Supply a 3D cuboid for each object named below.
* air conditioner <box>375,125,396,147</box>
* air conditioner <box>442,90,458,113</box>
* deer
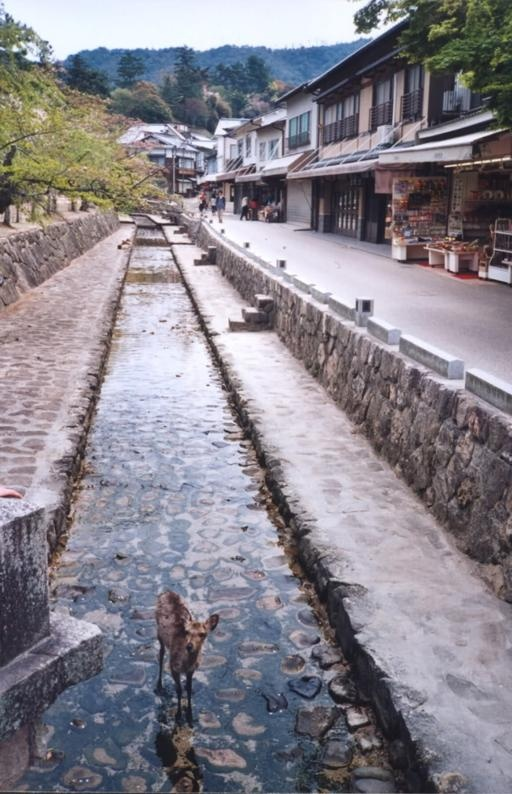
[{"bbox_3d":[4.497,-9.196,23.002,0.507,0.743,0.969,-2,16,-12],"label":"air conditioner"},{"bbox_3d":[5.949,-9.035,19.895,0.251,0.663,0.678,-2,16,-12],"label":"air conditioner"},{"bbox_3d":[-0.369,1.370,3.408,0.371,0.585,0.403,-2,17,-30],"label":"deer"}]
